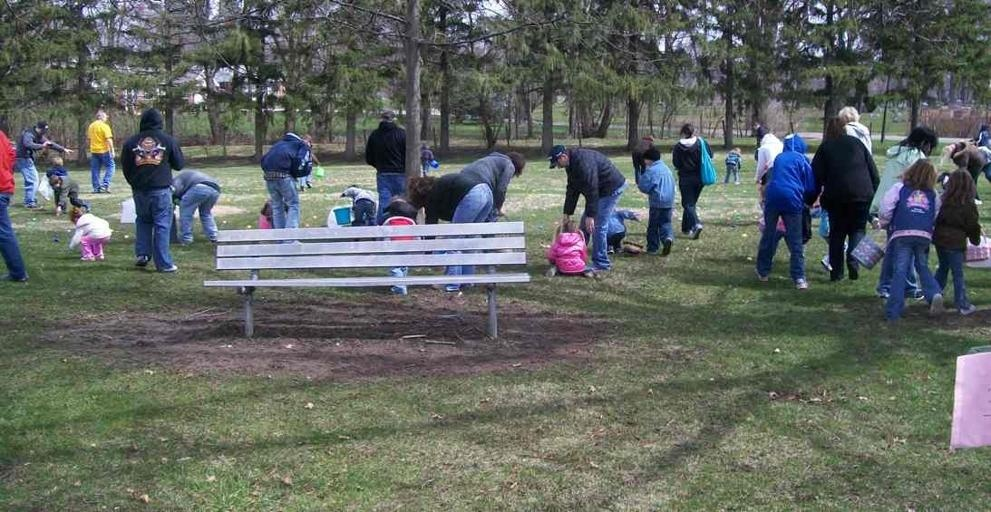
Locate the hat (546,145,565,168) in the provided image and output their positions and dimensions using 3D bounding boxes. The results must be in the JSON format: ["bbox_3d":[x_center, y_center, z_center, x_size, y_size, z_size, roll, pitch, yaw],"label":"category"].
[{"bbox_3d":[1.751,-2.855,27.246,0.423,0.605,1.151,-1,7,3],"label":"hat"}]

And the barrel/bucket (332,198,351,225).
[{"bbox_3d":[-4.768,-1.263,29.419,0.602,0.513,0.696,-1,-2,-9],"label":"barrel/bucket"}]

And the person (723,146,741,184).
[{"bbox_3d":[10.295,-3.931,41.618,0.643,1.503,3.008,0,7,13],"label":"person"}]

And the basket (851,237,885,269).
[{"bbox_3d":[10.142,-0.066,26.169,0.601,0.631,0.497,34,3,-6],"label":"basket"}]

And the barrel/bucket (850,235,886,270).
[{"bbox_3d":[10.131,0.004,26.334,0.765,0.920,0.746,41,-1,1],"label":"barrel/bucket"}]

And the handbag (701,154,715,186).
[{"bbox_3d":[6.573,-2.658,29.565,0.351,0.906,1.340,1,7,16],"label":"handbag"}]
